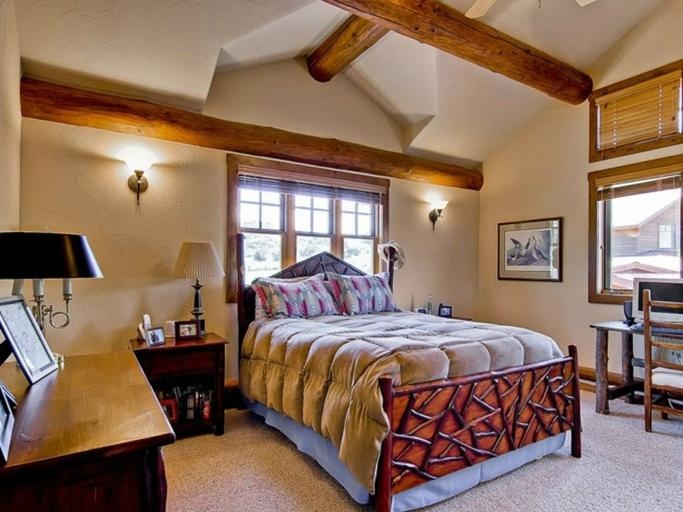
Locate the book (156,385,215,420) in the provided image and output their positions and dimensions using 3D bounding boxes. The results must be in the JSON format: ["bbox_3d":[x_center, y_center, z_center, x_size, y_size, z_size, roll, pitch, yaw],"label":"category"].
[{"bbox_3d":[-1.396,1.300,4.404,0.339,0.218,0.327,3,-5,-36],"label":"book"}]

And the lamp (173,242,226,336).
[{"bbox_3d":[-1.324,0.288,4.570,0.407,0.856,0.501,-4,10,-21],"label":"lamp"}]

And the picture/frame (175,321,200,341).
[{"bbox_3d":[-1.353,0.658,4.346,0.148,0.135,0.052,3,-10,-28],"label":"picture/frame"}]

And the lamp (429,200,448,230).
[{"bbox_3d":[1.294,-0.532,6.498,0.144,0.364,0.362,8,12,40],"label":"lamp"}]

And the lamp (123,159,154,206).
[{"bbox_3d":[-1.848,-0.667,4.544,0.212,0.408,0.129,-4,10,-24],"label":"lamp"}]

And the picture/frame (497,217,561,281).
[{"bbox_3d":[2.420,-0.091,6.299,0.056,0.836,0.803,6,-5,-38],"label":"picture/frame"}]

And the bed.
[{"bbox_3d":[0.292,0.855,4.239,1.746,1.563,2.113,1,-5,-32],"label":"bed"}]
